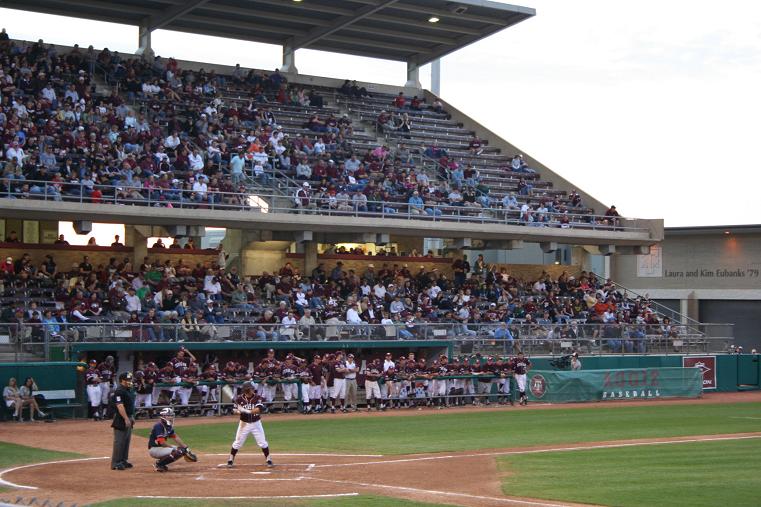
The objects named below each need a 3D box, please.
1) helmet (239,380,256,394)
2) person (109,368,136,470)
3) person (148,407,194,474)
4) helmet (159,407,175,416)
[{"bbox_3d":[-4.795,4.807,60.441,0.500,0.429,0.399,-4,14,3],"label":"helmet"},{"bbox_3d":[-9.342,6.080,60.414,0.752,3.474,0.808,1,-3,-10],"label":"person"},{"bbox_3d":[-7.623,6.697,60.243,1.645,2.263,0.879,0,-3,4],"label":"person"},{"bbox_3d":[-7.729,5.701,60.352,0.472,0.350,0.346,-2,2,-3],"label":"helmet"}]
